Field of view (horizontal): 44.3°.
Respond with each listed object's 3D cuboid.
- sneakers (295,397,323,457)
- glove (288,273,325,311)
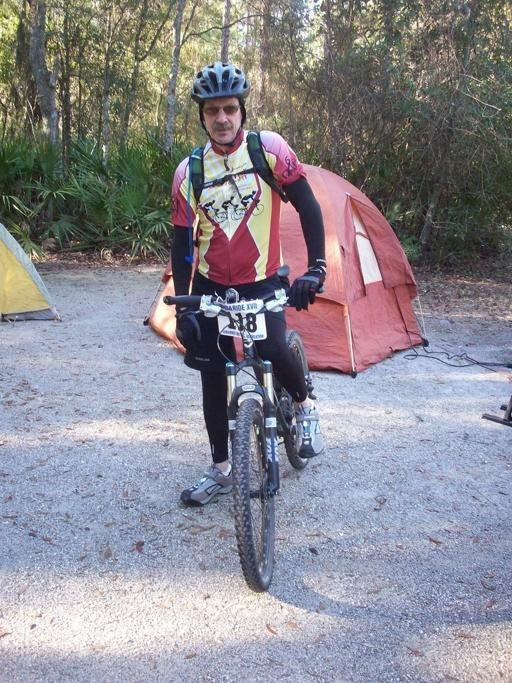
[{"bbox_3d":[0.258,0.428,3.023,0.109,0.312,0.145,-5,-27,17],"label":"sneakers"},{"bbox_3d":[0.171,-0.175,2.243,0.117,0.120,0.192,5,14,13],"label":"glove"}]
